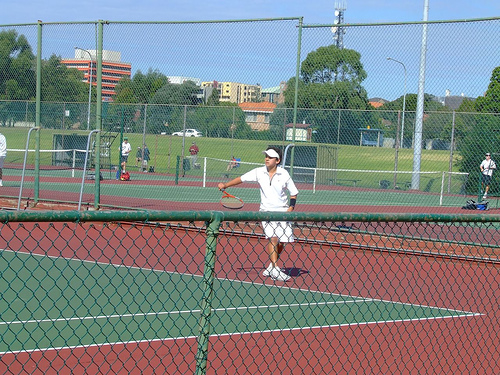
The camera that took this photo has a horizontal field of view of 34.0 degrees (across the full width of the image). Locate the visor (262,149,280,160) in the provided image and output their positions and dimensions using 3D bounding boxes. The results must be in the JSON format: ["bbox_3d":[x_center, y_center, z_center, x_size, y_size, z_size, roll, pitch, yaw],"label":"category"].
[{"bbox_3d":[0.362,-0.594,14.818,0.355,0.164,0.248,11,17,35],"label":"visor"}]

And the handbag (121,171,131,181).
[{"bbox_3d":[-4.474,-0.403,29.339,0.215,0.387,0.354,6,-4,4],"label":"handbag"}]
